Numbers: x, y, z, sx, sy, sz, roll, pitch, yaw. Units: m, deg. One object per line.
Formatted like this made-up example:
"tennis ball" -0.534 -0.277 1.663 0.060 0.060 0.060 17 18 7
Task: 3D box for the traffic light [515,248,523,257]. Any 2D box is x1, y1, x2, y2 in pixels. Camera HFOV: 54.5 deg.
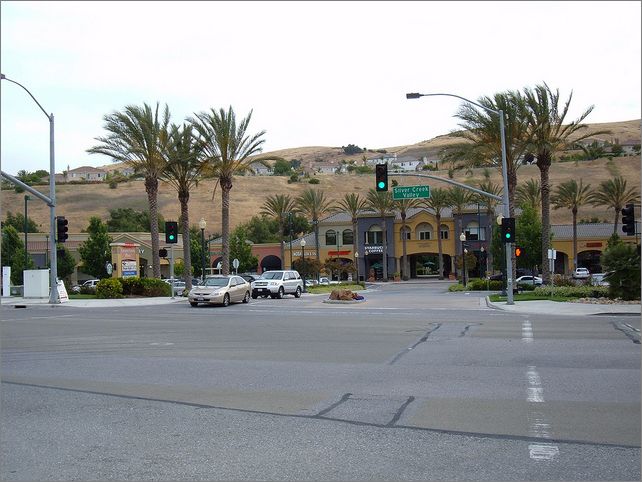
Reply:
"traffic light" 10.193 0.538 31.938 0.436 0.447 0.231 -2 -4 14

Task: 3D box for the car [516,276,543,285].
"car" 18.394 3.412 54.748 1.703 0.676 0.853 -3 2 -2

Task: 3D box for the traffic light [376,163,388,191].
"traffic light" 2.820 -2.966 28.473 0.509 1.260 0.830 0 0 0

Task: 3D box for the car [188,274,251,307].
"car" -5.594 2.740 34.808 1.678 1.664 3.968 0 0 22

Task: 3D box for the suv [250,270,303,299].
"suv" -2.814 2.871 41.432 1.559 1.361 2.940 -5 -10 27

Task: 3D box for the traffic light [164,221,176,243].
"traffic light" -9.028 -0.540 37.704 0.631 1.309 1.377 0 0 -19

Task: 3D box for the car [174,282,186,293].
"car" -11.443 3.733 50.146 1.159 0.778 2.036 -1 6 -5
